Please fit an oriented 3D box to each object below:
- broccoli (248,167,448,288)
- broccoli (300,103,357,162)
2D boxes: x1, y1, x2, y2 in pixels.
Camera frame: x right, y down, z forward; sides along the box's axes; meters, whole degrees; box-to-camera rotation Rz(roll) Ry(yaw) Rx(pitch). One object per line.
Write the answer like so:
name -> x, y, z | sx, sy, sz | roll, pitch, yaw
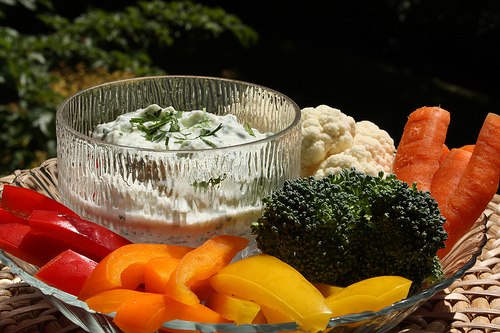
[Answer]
broccoli -> 0.382, 0.236, 1.744 | 0.692, 0.419, 0.401 | 0, 6, 25
broccoli -> 0.379, -0.170, 2.314 | 0.300, 0.212, 0.284 | -6, 48, -13
